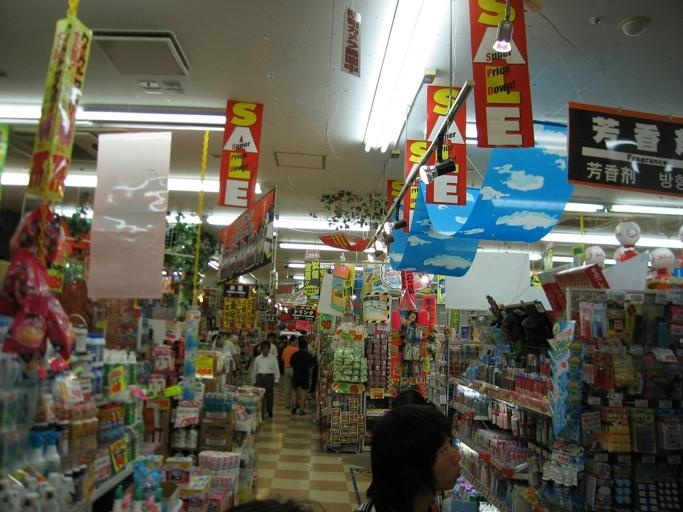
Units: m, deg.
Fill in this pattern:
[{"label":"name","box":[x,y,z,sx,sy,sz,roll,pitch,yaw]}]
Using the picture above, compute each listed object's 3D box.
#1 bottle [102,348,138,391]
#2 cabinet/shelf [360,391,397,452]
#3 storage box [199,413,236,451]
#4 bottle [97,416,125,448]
[{"label":"bottle","box":[-1.884,0.983,4.436,0.191,0.353,0.440,0,-7,7]},{"label":"cabinet/shelf","box":[0.603,2.906,9.353,0.498,1.042,0.521,3,-5,-8]},{"label":"storage box","box":[-1.330,1.872,5.630,0.341,0.385,0.367,2,-4,-4]},{"label":"bottle","box":[-1.790,1.357,4.010,0.141,0.058,0.147,8,-1,0]}]
